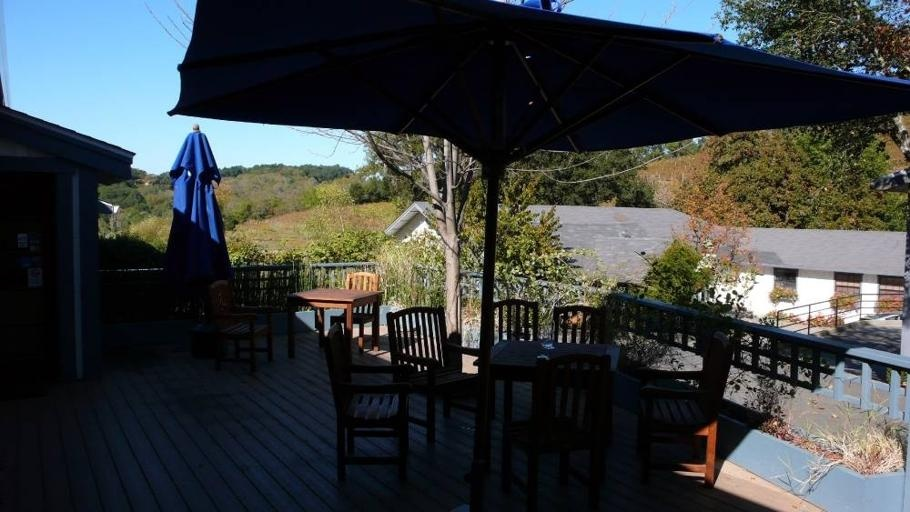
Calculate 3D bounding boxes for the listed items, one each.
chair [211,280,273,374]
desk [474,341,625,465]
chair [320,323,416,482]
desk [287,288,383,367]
[{"bbox_3d":[-3.744,1.199,10.831,0.948,1.424,1.033,0,3,10],"label":"chair"},{"bbox_3d":[0.990,2.086,7.869,1.706,1.295,1.725,1,-1,6],"label":"desk"},{"bbox_3d":[-1.415,1.868,8.861,1.686,2.614,1.819,-1,3,-2],"label":"chair"},{"bbox_3d":[-1.923,1.167,11.529,1.226,0.793,1.231,-5,4,-6],"label":"desk"}]
